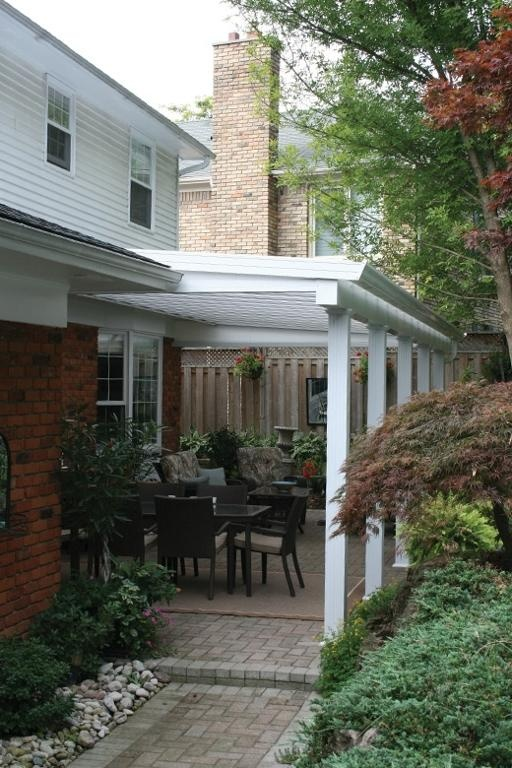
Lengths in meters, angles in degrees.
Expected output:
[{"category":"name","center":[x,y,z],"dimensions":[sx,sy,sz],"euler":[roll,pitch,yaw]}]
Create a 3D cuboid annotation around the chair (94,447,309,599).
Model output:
[{"category":"chair","center":[-0.347,1.540,6.843],"dimensions":[1.650,1.013,1.527],"euler":[0,-2,3]}]
